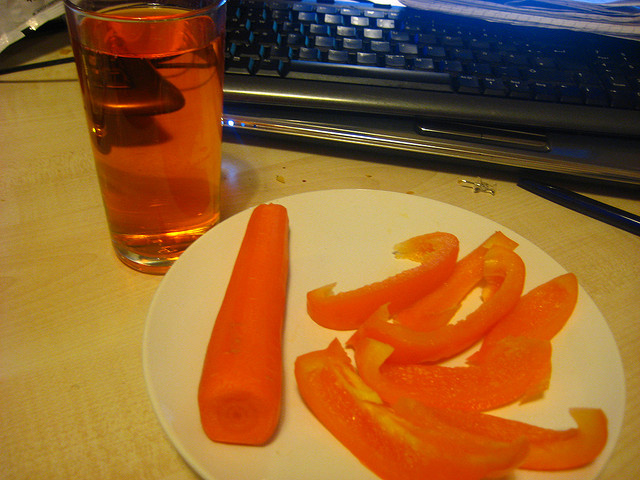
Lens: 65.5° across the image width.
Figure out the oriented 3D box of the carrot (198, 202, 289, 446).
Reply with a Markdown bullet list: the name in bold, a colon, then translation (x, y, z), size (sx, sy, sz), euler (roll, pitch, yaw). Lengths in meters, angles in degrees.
- **carrot**: translation (-0.086, 0.080, 0.617), size (0.089, 0.039, 0.331), euler (3, 56, -2)

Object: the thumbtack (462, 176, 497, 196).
- **thumbtack**: translation (0.282, -0.095, 0.878), size (0.050, 0.012, 0.024), euler (24, 41, 36)

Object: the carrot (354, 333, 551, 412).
- **carrot**: translation (0.170, 0.171, 0.632), size (0.060, 0.269, 0.132), euler (55, 45, -21)
